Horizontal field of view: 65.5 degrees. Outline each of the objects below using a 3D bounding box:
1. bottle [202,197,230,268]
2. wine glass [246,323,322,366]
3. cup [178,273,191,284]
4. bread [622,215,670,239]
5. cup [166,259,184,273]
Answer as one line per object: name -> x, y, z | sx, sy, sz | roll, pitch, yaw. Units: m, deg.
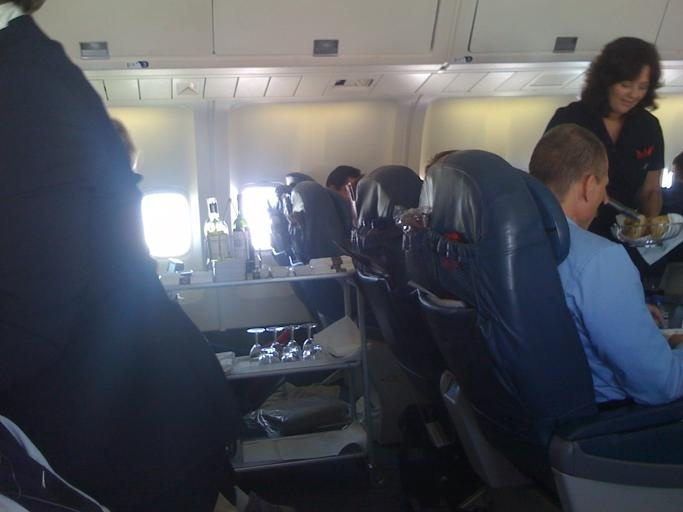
bottle -> -0.677, -0.112, 2.921 | 0.126, 0.409, 0.108 | -6, 7, -14
wine glass -> -0.299, 0.482, 2.780 | 0.252, 0.133, 0.309 | -1, -3, 11
cup -> -0.811, 0.113, 2.736 | 0.052, 0.073, 0.071 | -4, 9, -26
bread -> 1.350, -0.108, 2.354 | 0.127, 0.062, 0.139 | 0, -2, 0
cup -> -0.920, 0.053, 2.920 | 0.071, 0.090, 0.122 | 3, 4, -29
